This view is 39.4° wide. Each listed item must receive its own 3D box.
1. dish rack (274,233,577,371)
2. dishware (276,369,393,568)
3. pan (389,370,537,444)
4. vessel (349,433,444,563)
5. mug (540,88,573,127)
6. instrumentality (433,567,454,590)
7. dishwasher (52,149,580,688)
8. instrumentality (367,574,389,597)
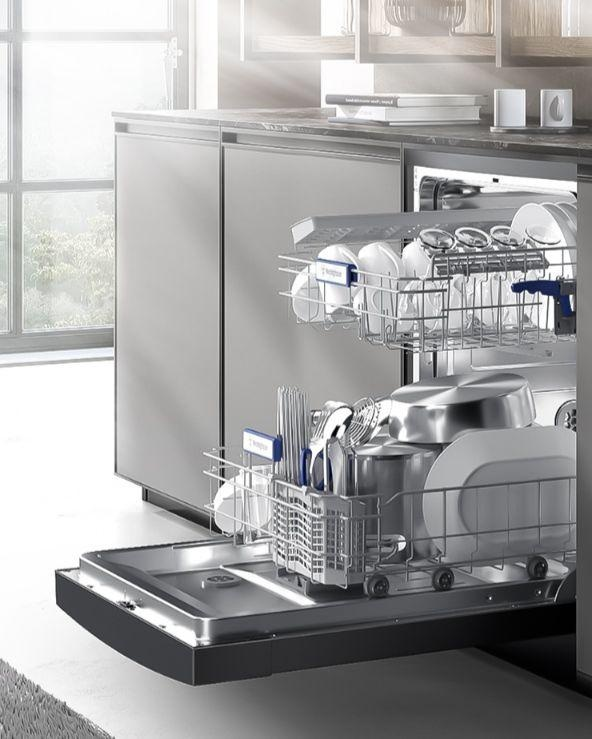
[{"bbox_3d":[0.216,-0.115,1.150,0.313,0.099,0.234,-2,9,-6],"label":"dish rack"},{"bbox_3d":[0.024,0.117,0.972,0.061,0.246,0.180,-3,-1,13],"label":"dishware"},{"bbox_3d":[0.249,0.051,1.224,0.207,0.053,0.198,2,14,43],"label":"pan"},{"bbox_3d":[0.114,0.171,1.139,0.127,0.135,0.128,5,8,23],"label":"vessel"},{"bbox_3d":[0.525,-0.524,1.660,0.057,0.078,0.043,0,4,10],"label":"mug"},{"bbox_3d":[0.177,0.252,0.999,0.028,0.027,0.013,22,-16,-31],"label":"instrumentality"},{"bbox_3d":[-0.084,0.043,1.330,0.609,0.628,0.751,0,-2,-35],"label":"dishwasher"},{"bbox_3d":[0.096,0.253,0.972,0.026,0.028,0.041,0,4,6],"label":"instrumentality"}]
